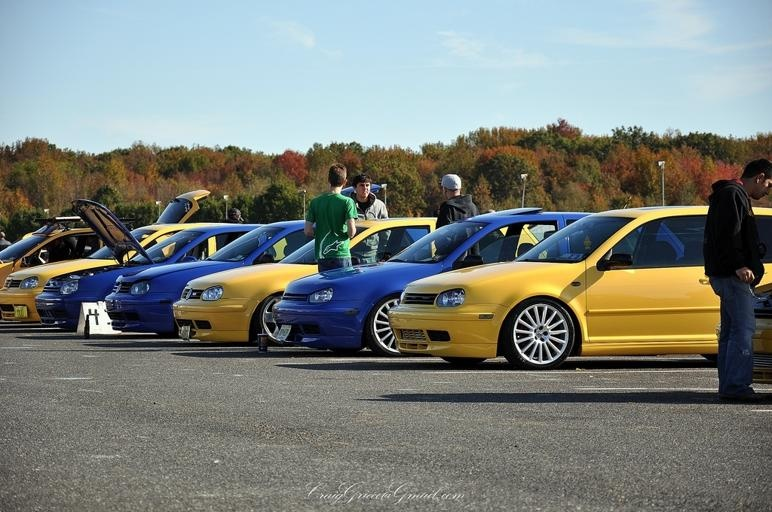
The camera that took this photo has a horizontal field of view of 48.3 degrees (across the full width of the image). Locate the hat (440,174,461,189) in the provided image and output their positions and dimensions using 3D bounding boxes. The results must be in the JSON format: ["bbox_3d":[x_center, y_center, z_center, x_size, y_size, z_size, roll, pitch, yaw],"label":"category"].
[{"bbox_3d":[1.078,-1.257,14.370,0.244,0.265,0.326,2,15,-1],"label":"hat"}]

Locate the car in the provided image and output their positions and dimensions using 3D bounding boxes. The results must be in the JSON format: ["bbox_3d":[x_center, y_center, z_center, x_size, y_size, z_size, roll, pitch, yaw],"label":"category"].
[{"bbox_3d":[1.634,0.393,11.508,6.833,2.151,2.319,-1,0,10],"label":"car"}]

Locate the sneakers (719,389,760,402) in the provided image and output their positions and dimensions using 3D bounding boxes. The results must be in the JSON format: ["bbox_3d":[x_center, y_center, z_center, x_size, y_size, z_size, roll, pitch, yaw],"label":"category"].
[{"bbox_3d":[3.443,1.336,8.419,0.407,0.161,0.136,2,-2,8],"label":"sneakers"}]
